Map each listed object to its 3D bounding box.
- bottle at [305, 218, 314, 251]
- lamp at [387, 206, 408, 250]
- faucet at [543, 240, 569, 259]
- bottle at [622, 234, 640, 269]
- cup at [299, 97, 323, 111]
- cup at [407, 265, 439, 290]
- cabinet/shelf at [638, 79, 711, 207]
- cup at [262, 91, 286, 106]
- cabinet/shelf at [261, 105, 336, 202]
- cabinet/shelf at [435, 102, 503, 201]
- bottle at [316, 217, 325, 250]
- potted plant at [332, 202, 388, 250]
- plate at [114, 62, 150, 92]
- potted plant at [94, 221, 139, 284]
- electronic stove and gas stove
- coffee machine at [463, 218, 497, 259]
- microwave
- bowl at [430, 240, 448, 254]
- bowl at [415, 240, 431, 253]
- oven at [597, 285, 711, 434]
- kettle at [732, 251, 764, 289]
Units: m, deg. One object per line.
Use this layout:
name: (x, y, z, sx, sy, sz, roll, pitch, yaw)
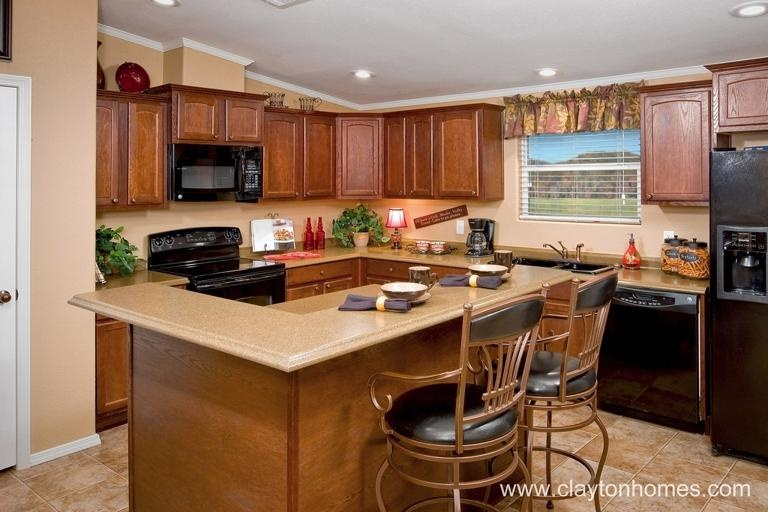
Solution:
bottle: (-0.858, -0.266, 6.201, 0.109, 0.334, 0.317, -3, 14, -6)
lamp: (0.149, -0.335, 6.356, 0.235, 0.440, 0.561, -1, 13, 3)
faucet: (1.765, -0.074, 5.475, 0.175, 0.143, 0.322, -5, 14, -15)
bottle: (2.302, -0.048, 5.036, 0.163, 0.280, 0.288, 5, 15, 24)
cup: (-0.825, -1.690, 6.048, 0.304, 0.179, 0.183, 2, 4, 6)
cup: (0.275, 0.121, 3.362, 0.228, 0.198, 0.122, 0, 1, -6)
cabinet/shelf: (2.457, -0.955, 4.600, 0.573, 1.006, 0.258, 4, 15, 22)
cup: (-1.131, -1.644, 5.670, 0.224, 0.167, 0.462, -4, 13, -10)
cabinet/shelf: (-0.924, -1.087, 5.695, 1.120, 0.925, 0.461, -6, 11, -43)
cabinet/shelf: (0.896, -1.077, 5.668, 0.735, 0.986, 0.369, 0, 14, 4)
bottle: (-0.742, -0.279, 6.280, 0.124, 0.354, 0.422, -3, 14, -6)
potted plant: (-0.284, -0.372, 6.476, 0.662, 0.469, 0.510, -2, 14, -5)
plate: (-2.144, -1.533, 4.634, 0.266, 0.260, 0.174, -7, 15, -22)
potted plant: (-2.249, -0.040, 4.565, 0.297, 0.418, 0.217, -7, 15, -22)
electronic stove and gas stove: (-1.631, -0.029, 5.082, 1.025, 0.442, 0.862, -11, 16, -37)
coffee machine: (1.033, -0.213, 5.772, 0.445, 0.470, 0.322, 1, 0, 10)
microwave: (-1.591, -0.769, 5.071, 0.563, 0.519, 0.904, 4, 5, 44)
bowl: (0.609, -0.098, 5.954, 0.191, 0.093, 0.167, 0, 13, 3)
bowl: (0.437, -0.109, 6.034, 0.151, 0.084, 0.221, -1, 13, 1)
oven: (2.522, 0.827, 4.657, 0.996, 1.105, 0.987, 2, 0, 45)
kettle: (2.633, 0.108, 3.921, 0.207, 0.273, 0.078, 7, 17, 30)
